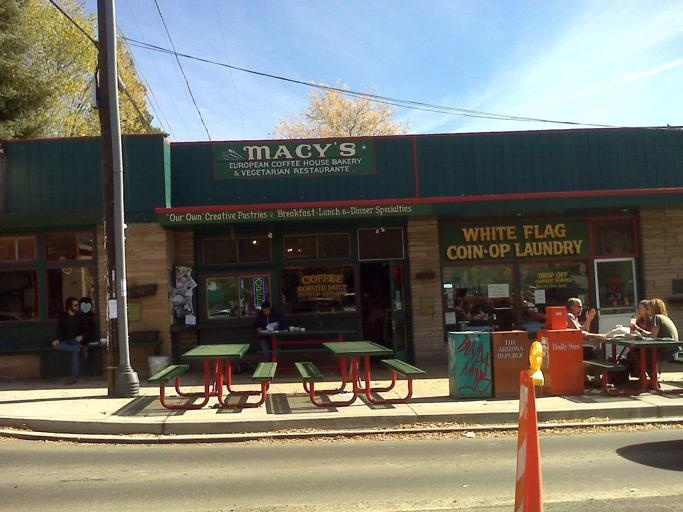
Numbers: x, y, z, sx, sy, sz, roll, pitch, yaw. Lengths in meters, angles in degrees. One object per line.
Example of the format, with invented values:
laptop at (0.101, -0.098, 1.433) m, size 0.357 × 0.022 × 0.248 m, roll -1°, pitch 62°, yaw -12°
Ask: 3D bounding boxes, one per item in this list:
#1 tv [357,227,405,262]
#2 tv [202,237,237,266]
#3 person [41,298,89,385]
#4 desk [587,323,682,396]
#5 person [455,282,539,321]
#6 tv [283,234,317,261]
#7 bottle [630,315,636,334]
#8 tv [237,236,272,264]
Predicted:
tv at (0.962, -0.274, 18.848) m, size 0.862 × 0.627 × 0.030 m, roll -1°, pitch -9°, yaw -4°
tv at (-3.056, -0.111, 18.845) m, size 1.068 × 0.786 × 0.574 m, roll 1°, pitch 4°, yaw -6°
person at (-6.344, 1.999, 17.486) m, size 0.766 × 1.822 × 1.402 m, roll -6°, pitch 13°, yaw -22°
desk at (5.950, 2.175, 15.203) m, size 1.317 × 0.835 × 1.823 m, roll 0°, pitch -5°, yaw -2°
person at (3.922, 1.227, 18.897) m, size 2.089 × 0.802 × 0.278 m, roll -1°, pitch 12°, yaw -1°
tv at (-1.042, -0.178, 18.778) m, size 0.652 × 0.472 × 0.027 m, roll 0°, pitch -9°, yaw -4°
bottle at (6.392, 1.511, 16.303) m, size 0.108 × 0.337 × 0.139 m, roll 6°, pitch -4°, yaw -6°
tv at (-2.170, -0.127, 18.738) m, size 0.623 × 0.867 × 0.118 m, roll -3°, pitch -8°, yaw -7°
